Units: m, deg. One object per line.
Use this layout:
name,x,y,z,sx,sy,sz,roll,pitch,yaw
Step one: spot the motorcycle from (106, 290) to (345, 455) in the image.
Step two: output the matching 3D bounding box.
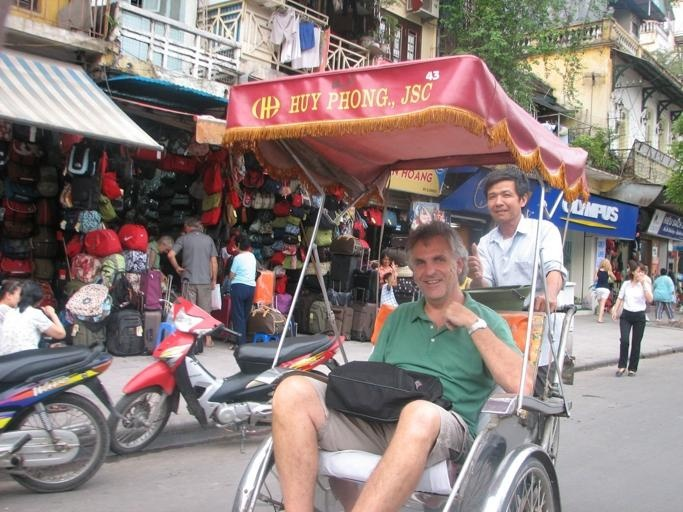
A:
motorcycle,-1.209,1.194,7.264,2.654,1.844,1.144,3,8,-20

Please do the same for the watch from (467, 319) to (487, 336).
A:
watch,0.913,0.470,4.397,0.117,0.080,0.118,-39,-12,22

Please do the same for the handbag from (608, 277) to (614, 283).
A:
handbag,9.412,0.830,22.958,0.209,0.310,0.158,5,15,35

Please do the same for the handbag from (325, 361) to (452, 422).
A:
handbag,0.248,0.865,4.309,0.562,0.248,0.423,3,5,16
